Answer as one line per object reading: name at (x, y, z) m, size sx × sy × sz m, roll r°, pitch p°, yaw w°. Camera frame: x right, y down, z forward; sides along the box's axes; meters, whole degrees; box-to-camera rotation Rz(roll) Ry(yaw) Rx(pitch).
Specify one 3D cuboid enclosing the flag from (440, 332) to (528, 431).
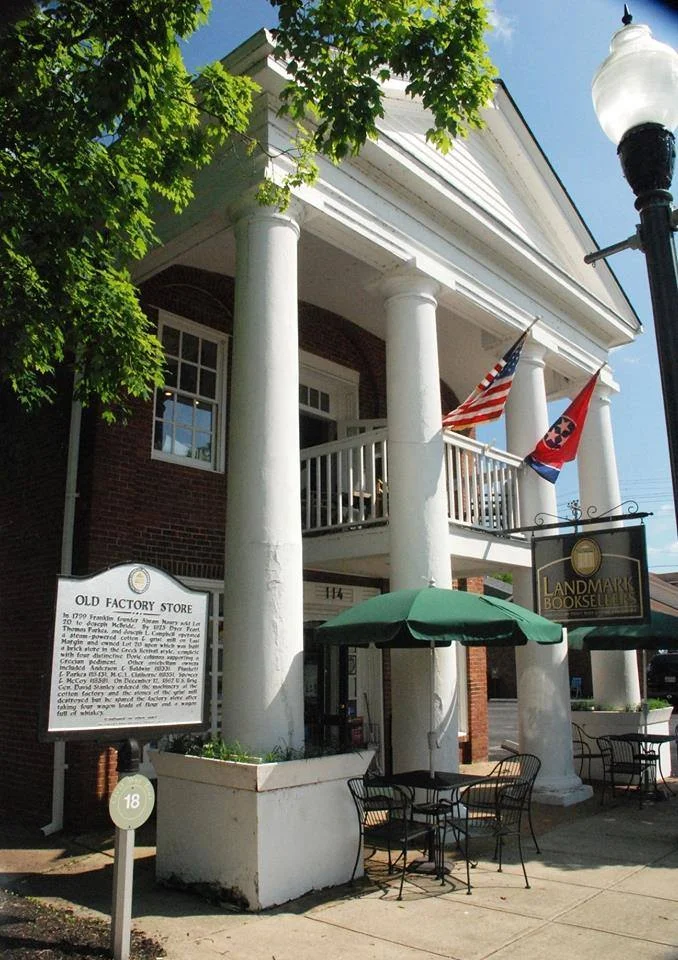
flag at (1.825, -1.217, 9.833) m, size 1.067 × 1.260 × 0.489 m, roll 0°, pitch -14°, yaw -1°
